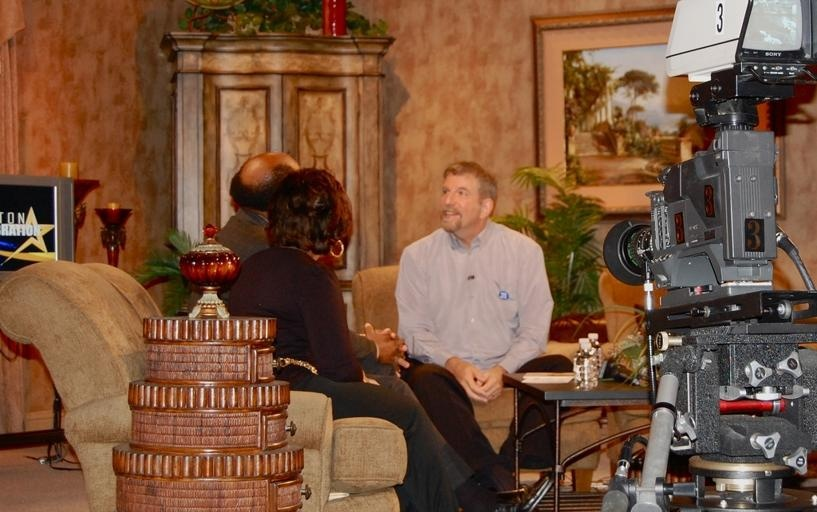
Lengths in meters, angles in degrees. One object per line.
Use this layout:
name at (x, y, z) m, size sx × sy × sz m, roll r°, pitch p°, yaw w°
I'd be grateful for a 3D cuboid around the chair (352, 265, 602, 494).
chair at (0.444, 0.798, 8.491) m, size 1.284 × 1.651 × 1.492 m, roll 3°, pitch -9°, yaw -20°

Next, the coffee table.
coffee table at (0.814, 0.930, 7.033) m, size 0.810 × 0.796 × 0.802 m, roll 6°, pitch -4°, yaw -27°

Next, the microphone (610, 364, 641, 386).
microphone at (1.154, 0.637, 6.991) m, size 0.031 × 0.083 × 0.127 m, roll -23°, pitch 16°, yaw -35°

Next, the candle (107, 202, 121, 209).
candle at (-2.110, -0.357, 9.227) m, size 0.064 × 0.047 × 0.065 m, roll 1°, pitch 1°, yaw 28°
